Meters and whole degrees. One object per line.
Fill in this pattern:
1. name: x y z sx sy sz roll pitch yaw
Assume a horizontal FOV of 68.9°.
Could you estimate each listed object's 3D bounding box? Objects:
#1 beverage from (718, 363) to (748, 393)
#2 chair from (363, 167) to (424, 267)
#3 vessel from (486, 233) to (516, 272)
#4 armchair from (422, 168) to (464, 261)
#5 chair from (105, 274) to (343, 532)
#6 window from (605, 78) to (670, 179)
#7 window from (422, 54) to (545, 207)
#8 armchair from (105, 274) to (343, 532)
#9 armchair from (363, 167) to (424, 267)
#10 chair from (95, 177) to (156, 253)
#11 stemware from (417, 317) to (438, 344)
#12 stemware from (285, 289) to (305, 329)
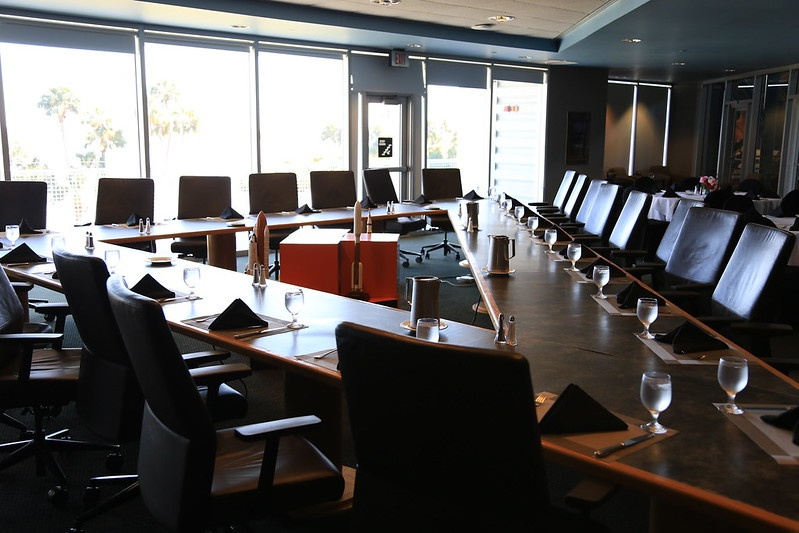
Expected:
1. beverage: 1.192 0.397 2.102 0.089 0.132 0.059 6 15 25
2. chair: -0.076 -0.696 7.853 0.790 1.207 0.736 6 13 39
3. vessel: 0.671 -0.083 3.912 0.236 0.231 0.175 7 11 43
4. armchair: 0.664 -0.762 8.093 0.831 1.203 0.867 1 10 4
5. chair: -0.731 0.415 2.744 1.037 1.123 0.997 -10 13 -34
6. window: 5.748 -3.380 14.394 0.073 1.993 1.889 -11 16 -28
7. window: 1.794 -2.764 11.179 0.161 2.171 2.150 -17 23 -40
8. armchair: -0.716 0.411 2.757 1.037 1.123 0.997 -10 13 -34
9. armchair: -0.012 -0.729 7.891 1.025 1.331 0.863 1 1 -2
10. chair: -2.875 -0.442 6.182 0.646 0.948 0.604 2 27 -28
11. stemware: 0.107 0.276 2.536 0.103 0.090 0.099 0 4 -19
12. stemware: -0.511 0.196 2.912 0.131 0.196 0.135 7 2 -10
